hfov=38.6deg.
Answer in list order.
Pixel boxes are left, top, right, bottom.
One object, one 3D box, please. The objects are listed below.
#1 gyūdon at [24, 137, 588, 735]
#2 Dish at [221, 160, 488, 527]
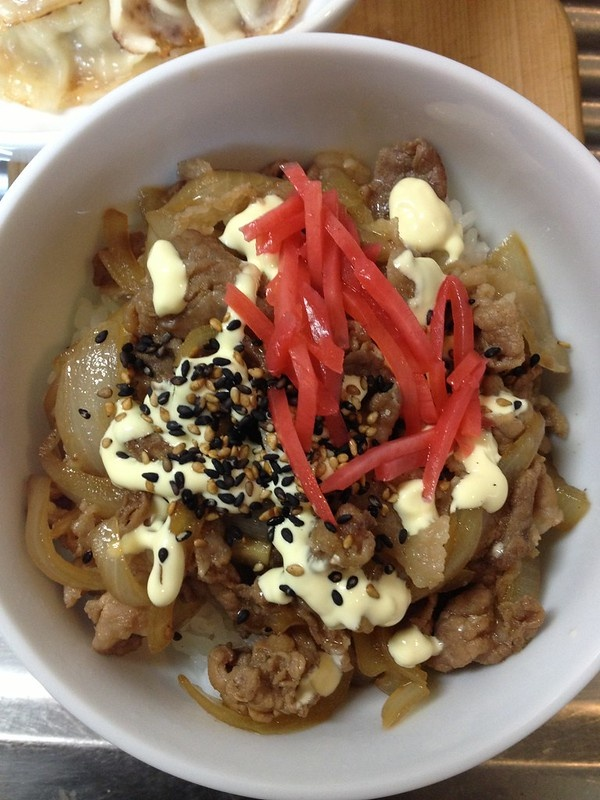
[{"bbox_3d":[-0.175,-0.123,2.479,0.667,1.566,1.538,16,46,38],"label":"gyūdon"},{"bbox_3d":[0.164,-0.153,2.117,0.580,0.233,0.859,-18,83,-1],"label":"Dish"}]
